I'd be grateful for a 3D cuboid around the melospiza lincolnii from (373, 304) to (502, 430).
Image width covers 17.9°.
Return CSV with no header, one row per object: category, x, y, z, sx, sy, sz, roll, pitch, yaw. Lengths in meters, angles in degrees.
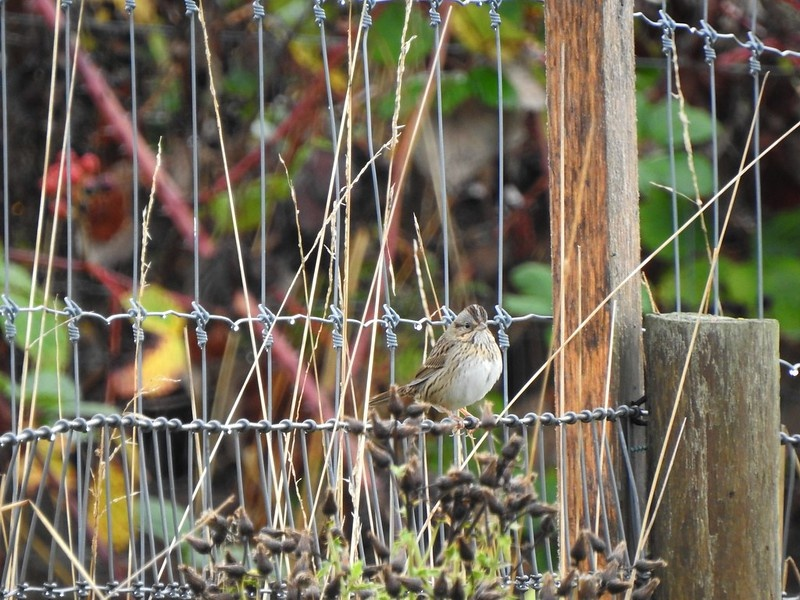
melospiza lincolnii,0.162,0.371,14.412,0.396,0.653,0.910,-8,2,-45
